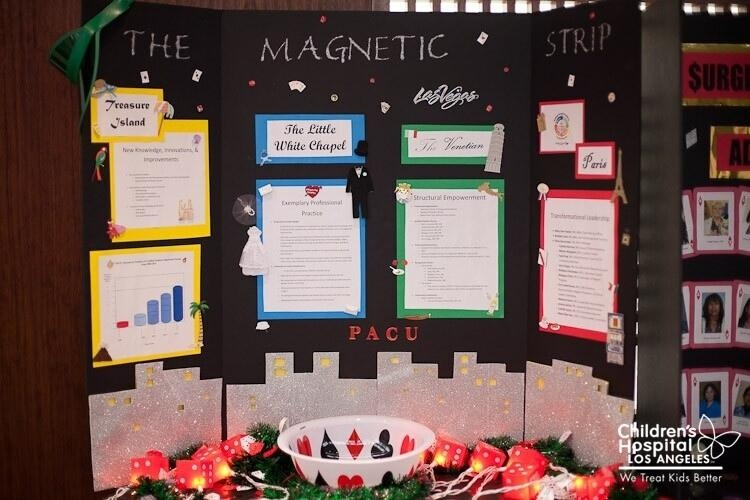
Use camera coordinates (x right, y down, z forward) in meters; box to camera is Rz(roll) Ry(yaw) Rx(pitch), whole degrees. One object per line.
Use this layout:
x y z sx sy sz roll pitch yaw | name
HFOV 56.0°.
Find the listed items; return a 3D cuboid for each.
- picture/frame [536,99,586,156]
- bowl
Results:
0.975 -0.644 3.669 0.312 0.343 0.014 1 1 32 | picture/frame
-0.094 1.015 3.587 0.781 0.244 0.397 -5 7 -11 | bowl
